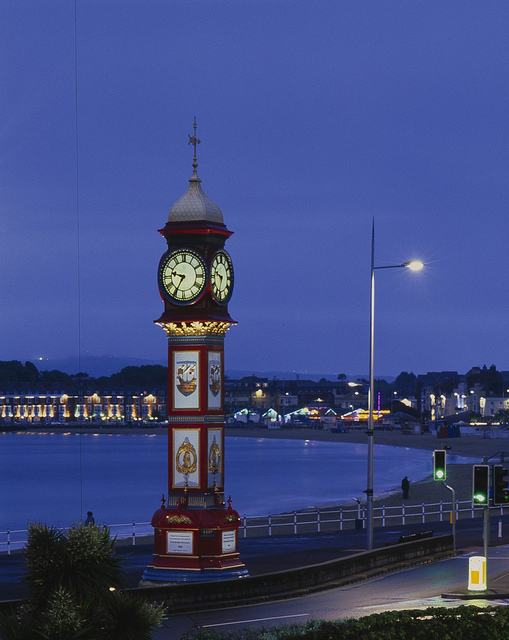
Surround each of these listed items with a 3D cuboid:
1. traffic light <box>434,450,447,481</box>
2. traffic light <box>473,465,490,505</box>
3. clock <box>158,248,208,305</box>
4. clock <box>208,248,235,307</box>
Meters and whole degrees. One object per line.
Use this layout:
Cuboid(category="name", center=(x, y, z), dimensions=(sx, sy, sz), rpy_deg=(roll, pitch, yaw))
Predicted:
Cuboid(category="traffic light", center=(4.917, 3.915, 45.107), dimensions=(0.319, 0.796, 0.779), rpy_deg=(-4, -6, 4))
Cuboid(category="traffic light", center=(5.216, 3.849, 39.093), dimensions=(0.339, 0.880, 0.480), rpy_deg=(-4, -6, 2))
Cuboid(category="clock", center=(-1.869, -1.132, 42.670), dimensions=(1.243, 1.649, 0.127), rpy_deg=(-2, -27, 0))
Cuboid(category="clock", center=(-0.956, -1.074, 41.536), dimensions=(0.154, 1.800, 1.447), rpy_deg=(-5, -16, 21))
